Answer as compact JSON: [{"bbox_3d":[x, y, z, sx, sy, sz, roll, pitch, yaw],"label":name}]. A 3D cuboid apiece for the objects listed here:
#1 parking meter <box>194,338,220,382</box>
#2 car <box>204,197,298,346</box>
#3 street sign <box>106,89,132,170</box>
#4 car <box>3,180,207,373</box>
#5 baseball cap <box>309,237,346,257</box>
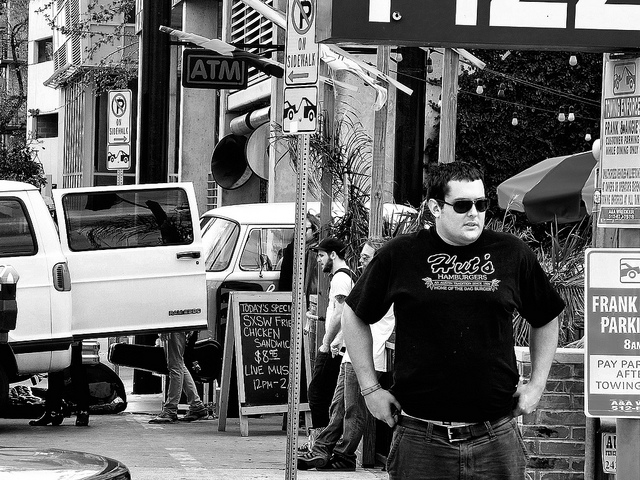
[{"bbox_3d":[-1.318,1.423,17.035,0.347,0.434,0.105,1,4,-13],"label":"parking meter"},{"bbox_3d":[-0.921,0.350,19.309,1.897,1.753,1.452,-3,4,-12],"label":"car"},{"bbox_3d":[-2.841,-1.552,20.691,0.449,1.202,0.032,1,0,30],"label":"street sign"},{"bbox_3d":[-2.477,0.299,16.273,2.672,1.462,1.556,0,-1,-8],"label":"car"},{"bbox_3d":[0.098,0.071,14.414,0.271,0.144,0.169,0,-3,8],"label":"baseball cap"}]
